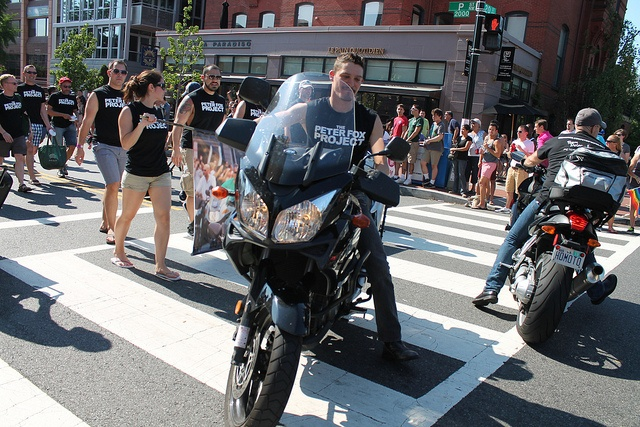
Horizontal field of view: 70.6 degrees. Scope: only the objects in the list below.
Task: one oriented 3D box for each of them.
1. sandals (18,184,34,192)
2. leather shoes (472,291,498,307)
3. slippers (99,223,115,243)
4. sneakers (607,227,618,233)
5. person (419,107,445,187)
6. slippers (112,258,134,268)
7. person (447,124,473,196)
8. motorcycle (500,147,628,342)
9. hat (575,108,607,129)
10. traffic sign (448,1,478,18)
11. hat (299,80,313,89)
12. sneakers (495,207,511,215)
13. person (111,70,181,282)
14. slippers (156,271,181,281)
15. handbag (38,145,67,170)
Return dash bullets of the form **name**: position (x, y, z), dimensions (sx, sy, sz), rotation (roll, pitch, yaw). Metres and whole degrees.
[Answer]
- **sandals**: position (-6.460, -0.556, 9.866), dimensions (0.293, 0.155, 0.141), rotation (5, 11, 29)
- **leather shoes**: position (2.048, 1.074, 5.668), dimensions (0.137, 0.190, 0.366), rotation (28, -23, -13)
- **slippers**: position (-3.359, 0.331, 7.088), dimensions (0.258, 0.221, 0.750), rotation (-4, 10, -25)
- **sneakers**: position (7.220, 0.437, 11.077), dimensions (0.379, 0.166, 0.114), rotation (-3, 16, -41)
- **person**: position (3.654, -2.088, 14.632), dimensions (0.677, 2.449, 0.714), rotation (10, 14, 26)
- **slippers**: position (-2.659, 0.664, 6.049), dimensions (0.273, 0.086, 0.126), rotation (13, 22, 13)
- **person**: position (4.288, -1.619, 13.747), dimensions (0.599, 2.108, 0.889), rotation (6, 13, 13)
- **motorcycle**: position (2.669, 0.350, 4.949), dimensions (0.966, 2.104, 0.721), rotation (2, 13, -5)
- **hat**: position (3.250, -1.166, 5.408), dimensions (0.335, 0.219, 0.239), rotation (-11, 24, -26)
- **traffic sign**: position (4.484, -6.423, 14.155), dimensions (0.806, 0.496, 0.549), rotation (8, 14, 15)
- **hat**: position (-0.127, -1.158, 4.066), dimensions (0.070, 0.062, 0.107), rotation (0, 6, -7)
- **sneakers**: position (4.977, -0.074, 12.336), dimensions (0.149, 0.206, 0.439), rotation (-5, 10, -32)
- **person**: position (-2.343, -0.558, 5.918), dimensions (0.813, 2.575, 1.240), rotation (-5, 16, -34)
- **slippers**: position (-1.963, 0.808, 5.806), dimensions (0.260, 0.127, 0.136), rotation (-2, 15, 0)
- **handbag**: position (-6.472, -1.356, 10.889), dimensions (0.551, 0.819, 0.246), rotation (-13, 1, -35)
